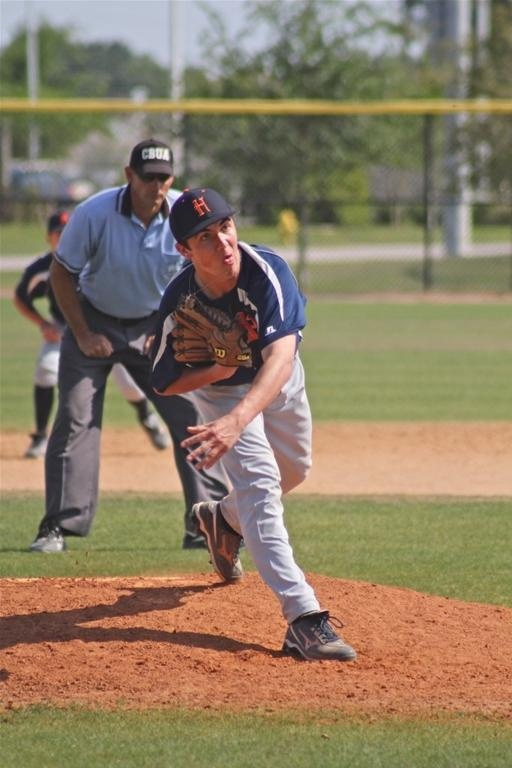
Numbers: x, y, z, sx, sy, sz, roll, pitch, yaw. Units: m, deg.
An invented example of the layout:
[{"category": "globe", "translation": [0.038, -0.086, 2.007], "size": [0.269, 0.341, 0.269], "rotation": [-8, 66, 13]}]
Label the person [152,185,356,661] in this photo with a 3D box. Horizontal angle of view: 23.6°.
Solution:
[{"category": "person", "translation": [-0.035, 0.116, 4.548], "size": [0.689, 1.667, 1.031], "rotation": [-1, 9, -5]}]

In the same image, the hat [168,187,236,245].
[{"category": "hat", "translation": [-0.193, -0.603, 4.396], "size": [0.210, 0.198, 0.253], "rotation": [-4, 9, -22]}]

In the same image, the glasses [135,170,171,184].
[{"category": "glasses", "translation": [-0.452, -0.931, 5.502], "size": [0.148, 0.043, 0.062], "rotation": [-4, 9, -27]}]

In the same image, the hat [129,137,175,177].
[{"category": "hat", "translation": [-0.478, -1.031, 5.574], "size": [0.197, 0.169, 0.262], "rotation": [-1, 8, -5]}]

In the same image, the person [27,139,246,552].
[{"category": "person", "translation": [-0.567, -0.168, 5.648], "size": [0.915, 1.881, 0.705], "rotation": [0, 7, -21]}]

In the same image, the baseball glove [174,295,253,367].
[{"category": "baseball glove", "translation": [-0.195, -0.214, 4.505], "size": [0.232, 0.153, 0.351], "rotation": [-9, -35, 4]}]

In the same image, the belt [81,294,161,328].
[{"category": "belt", "translation": [-0.610, -0.321, 5.709], "size": [0.174, 0.046, 0.181], "rotation": [-5, 38, -42]}]

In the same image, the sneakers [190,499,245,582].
[{"category": "sneakers", "translation": [-0.129, 0.657, 5.184], "size": [0.197, 0.410, 0.140], "rotation": [-17, 18, 10]}]

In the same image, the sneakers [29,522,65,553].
[{"category": "sneakers", "translation": [-0.978, 0.721, 5.739], "size": [0.096, 0.093, 0.240], "rotation": [4, -13, -5]}]

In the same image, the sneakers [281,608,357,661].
[{"category": "sneakers", "translation": [0.220, 0.893, 4.367], "size": [0.147, 0.169, 0.333], "rotation": [-1, 5, -36]}]
